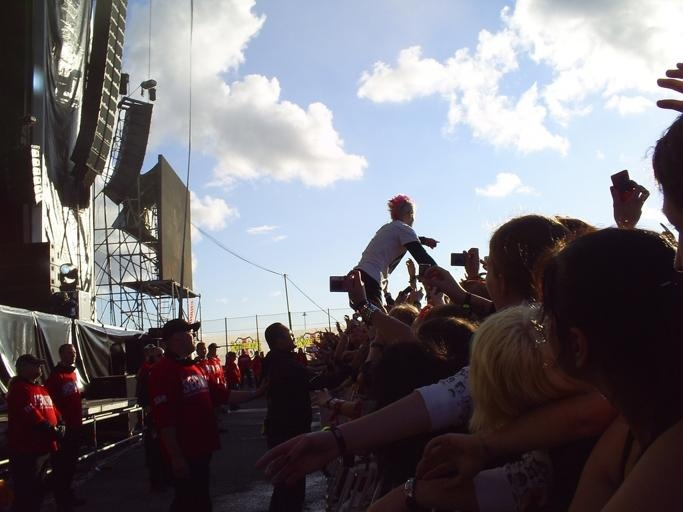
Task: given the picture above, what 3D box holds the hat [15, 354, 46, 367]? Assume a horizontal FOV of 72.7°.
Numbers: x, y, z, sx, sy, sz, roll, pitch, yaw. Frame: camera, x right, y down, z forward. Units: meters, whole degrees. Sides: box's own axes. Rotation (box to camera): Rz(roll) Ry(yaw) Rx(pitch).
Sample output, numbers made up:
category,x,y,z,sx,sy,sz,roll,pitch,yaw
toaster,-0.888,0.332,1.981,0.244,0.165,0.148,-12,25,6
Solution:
category,x,y,z,sx,sy,sz,roll,pitch,yaw
hat,-4.451,1.475,6.660,0.305,0.191,0.218,0,-4,-21
